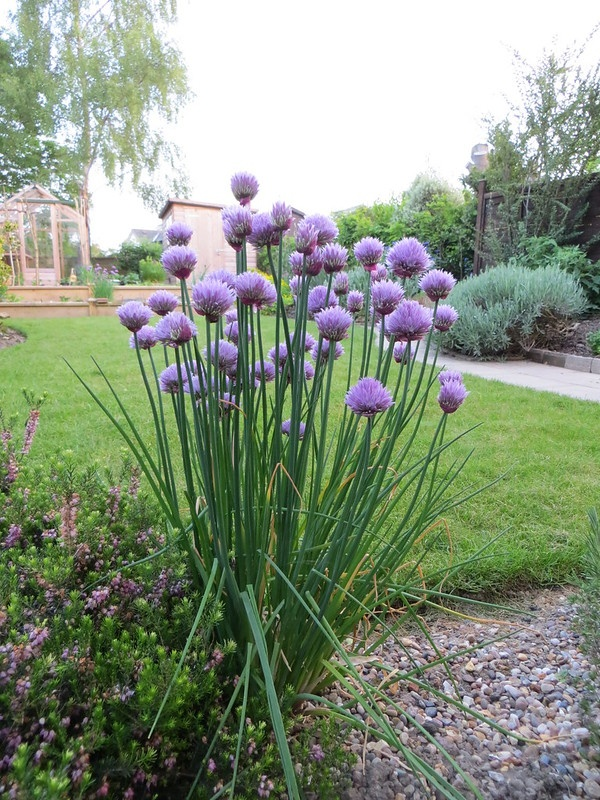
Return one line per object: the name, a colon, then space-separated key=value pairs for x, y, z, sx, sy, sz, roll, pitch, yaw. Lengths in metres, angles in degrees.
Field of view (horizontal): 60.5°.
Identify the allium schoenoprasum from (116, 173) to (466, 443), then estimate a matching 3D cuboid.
allium schoenoprasum: x=-0.038 y=-0.096 z=1.063 sx=0.541 sy=0.327 sz=0.532 roll=0 pitch=-11 yaw=33
